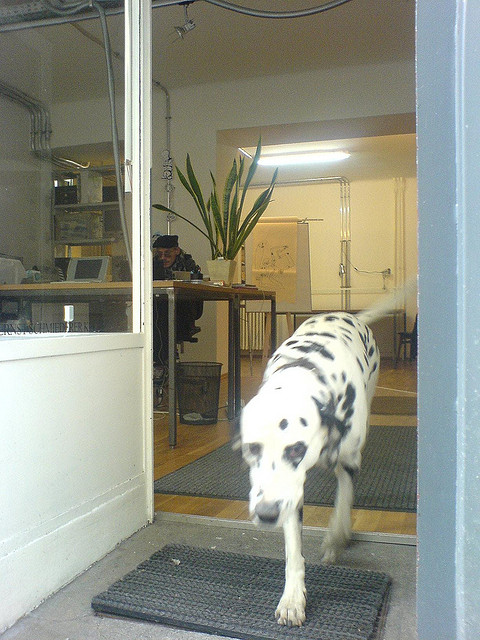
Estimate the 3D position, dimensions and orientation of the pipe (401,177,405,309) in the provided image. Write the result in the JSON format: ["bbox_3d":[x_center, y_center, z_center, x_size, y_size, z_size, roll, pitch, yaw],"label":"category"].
[{"bbox_3d":[2.233,-1.195,7.291,0.040,1.535,0.096,-1,-1,26],"label":"pipe"}]

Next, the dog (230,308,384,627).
[{"bbox_3d":[0.229,0.240,1.270,0.156,0.476,0.970,-3,18,25],"label":"dog"}]

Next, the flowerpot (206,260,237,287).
[{"bbox_3d":[-0.122,-0.259,3.362,0.143,0.178,0.146,-1,-4,1],"label":"flowerpot"}]

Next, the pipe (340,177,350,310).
[{"bbox_3d":[1.528,-1.081,7.554,0.056,1.782,0.353,0,-1,14],"label":"pipe"}]

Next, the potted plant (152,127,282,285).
[{"bbox_3d":[-0.144,-0.640,3.425,0.505,0.851,0.593,-8,-11,21],"label":"potted plant"}]
